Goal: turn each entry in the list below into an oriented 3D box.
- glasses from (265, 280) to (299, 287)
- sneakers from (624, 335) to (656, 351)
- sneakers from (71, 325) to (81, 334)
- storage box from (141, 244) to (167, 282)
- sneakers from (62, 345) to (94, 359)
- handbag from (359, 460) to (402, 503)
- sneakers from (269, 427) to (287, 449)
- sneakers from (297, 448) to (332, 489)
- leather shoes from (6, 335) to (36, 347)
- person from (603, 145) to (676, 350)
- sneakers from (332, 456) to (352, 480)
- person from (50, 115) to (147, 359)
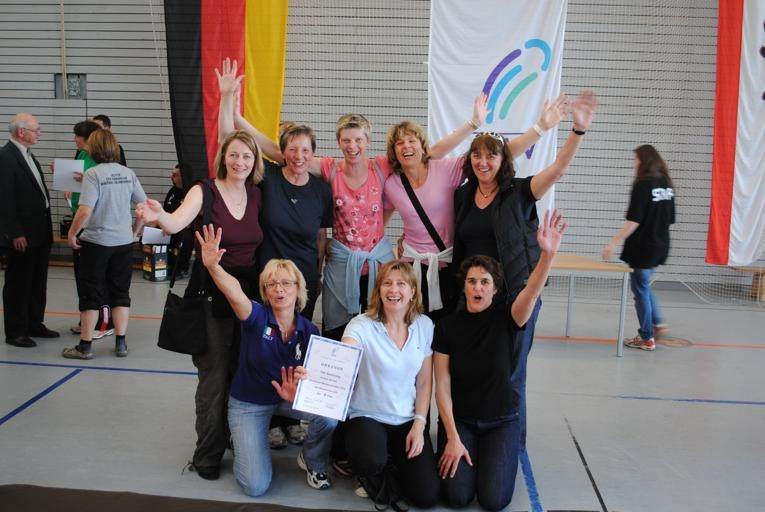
[{"bbox_3d":[-0.959,0.273,6.786,0.298,0.083,0.065,2,9,-7],"label":"glasses"},{"bbox_3d":[3.401,1.178,9.659,0.402,0.206,0.181,7,4,24],"label":"sneakers"},{"bbox_3d":[-4.005,0.975,9.491,0.168,0.087,0.073,10,-2,12],"label":"sneakers"},{"bbox_3d":[-3.797,0.105,12.070,0.395,0.603,0.296,9,11,42],"label":"storage box"},{"bbox_3d":[-3.669,1.183,8.749,0.297,0.138,0.162,7,-6,2],"label":"sneakers"},{"bbox_3d":[-0.026,2.136,6.744,0.401,0.352,0.248,-4,11,-34],"label":"handbag"},{"bbox_3d":[-1.058,1.853,7.298,0.122,0.207,0.225,0,-19,-8],"label":"sneakers"},{"bbox_3d":[-0.676,2.102,7.004,0.177,0.191,0.416,-15,36,-39],"label":"sneakers"},{"bbox_3d":[-4.436,1.078,8.930,0.364,0.178,0.145,0,0,-1],"label":"leather shoes"},{"bbox_3d":[3.421,-0.108,9.541,0.941,2.671,0.555,-3,10,-30],"label":"person"},{"bbox_3d":[-0.397,2.074,7.025,0.099,0.128,0.273,-12,19,-39],"label":"sneakers"},{"bbox_3d":[-3.407,-0.155,8.845,0.903,2.745,0.619,-2,9,-26],"label":"person"}]
